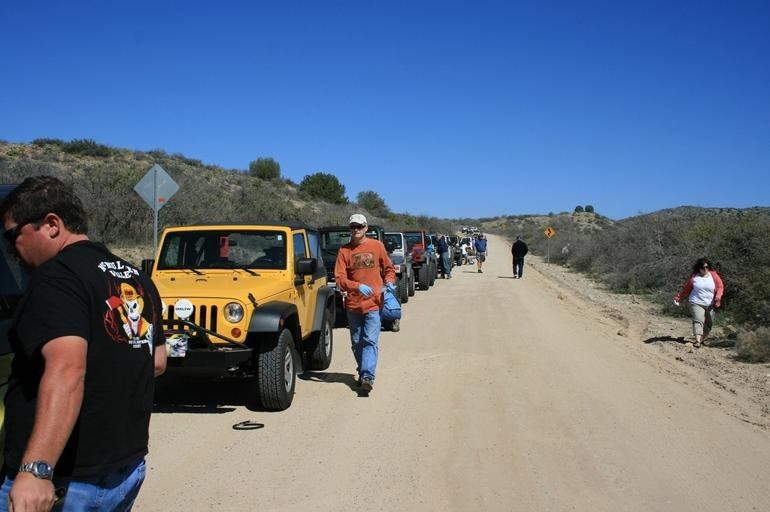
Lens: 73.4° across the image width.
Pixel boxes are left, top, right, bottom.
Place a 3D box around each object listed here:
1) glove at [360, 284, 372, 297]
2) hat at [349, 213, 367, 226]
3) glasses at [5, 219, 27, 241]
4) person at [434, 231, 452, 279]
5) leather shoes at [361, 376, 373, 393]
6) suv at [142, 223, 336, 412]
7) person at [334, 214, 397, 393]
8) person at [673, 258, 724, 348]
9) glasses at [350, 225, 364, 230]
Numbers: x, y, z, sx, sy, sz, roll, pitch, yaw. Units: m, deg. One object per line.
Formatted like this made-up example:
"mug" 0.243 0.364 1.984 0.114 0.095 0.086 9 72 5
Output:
"glove" -0.284 0.472 7.151 0.167 0.171 0.093 0 5 -2
"hat" -0.396 -0.558 7.499 0.195 0.170 0.325 -1 -13 11
"glasses" -2.034 -0.151 2.867 0.086 0.101 0.034 -16 -48 19
"person" 2.799 0.003 25.433 0.876 3.280 1.477 3 -17 5
"leather shoes" -0.262 1.787 7.138 0.107 0.142 0.297 -1 -31 -2
"suv" -1.906 0.620 7.206 1.639 1.716 3.125 -1 -4 8
"person" -0.347 0.649 7.486 0.762 2.521 0.838 3 6 34
"person" 6.428 0.943 10.636 0.713 1.792 1.094 4 7 40
"glasses" -0.409 -0.430 7.364 0.194 0.076 0.121 -1 5 -8
